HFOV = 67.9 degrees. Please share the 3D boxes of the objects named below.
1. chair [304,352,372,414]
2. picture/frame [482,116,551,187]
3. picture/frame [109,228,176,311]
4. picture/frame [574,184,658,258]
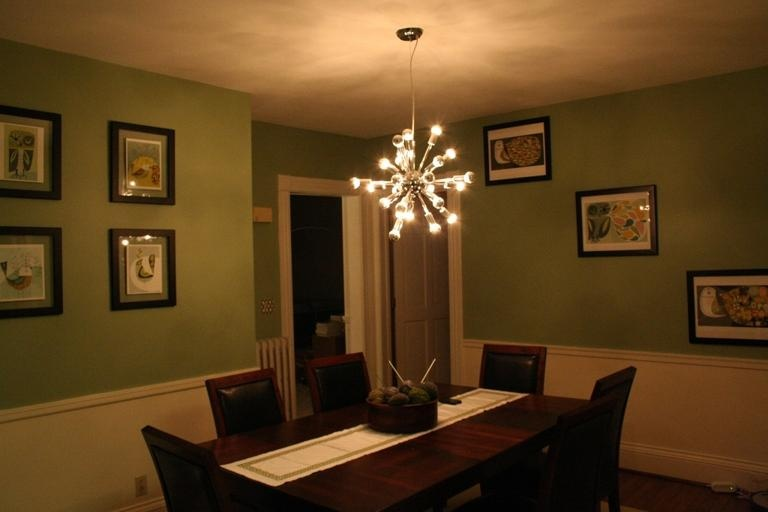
[{"bbox_3d":[-0.366,0.959,4.493,0.420,0.646,0.449,-2,-7,-31],"label":"chair"},{"bbox_3d":[1.352,-1.051,5.702,0.711,0.653,0.076,-3,-2,33],"label":"picture/frame"},{"bbox_3d":[-1.906,0.117,4.459,0.623,0.877,0.063,-1,0,-39],"label":"picture/frame"},{"bbox_3d":[2.156,-0.316,5.234,0.656,0.685,0.046,-1,-2,34],"label":"picture/frame"}]
